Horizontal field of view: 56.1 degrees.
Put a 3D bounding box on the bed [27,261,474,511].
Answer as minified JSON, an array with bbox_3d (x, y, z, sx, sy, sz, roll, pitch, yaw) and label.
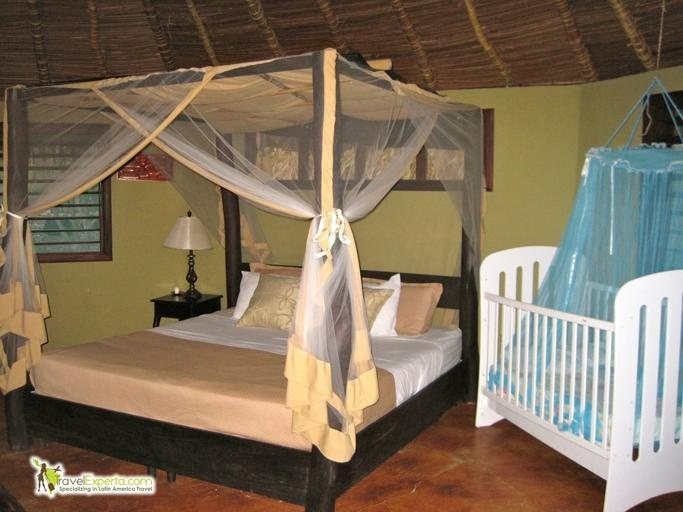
[{"bbox_3d":[-0.642,0.812,4.134,1.379,0.594,1.377,6,9,26],"label":"bed"}]
